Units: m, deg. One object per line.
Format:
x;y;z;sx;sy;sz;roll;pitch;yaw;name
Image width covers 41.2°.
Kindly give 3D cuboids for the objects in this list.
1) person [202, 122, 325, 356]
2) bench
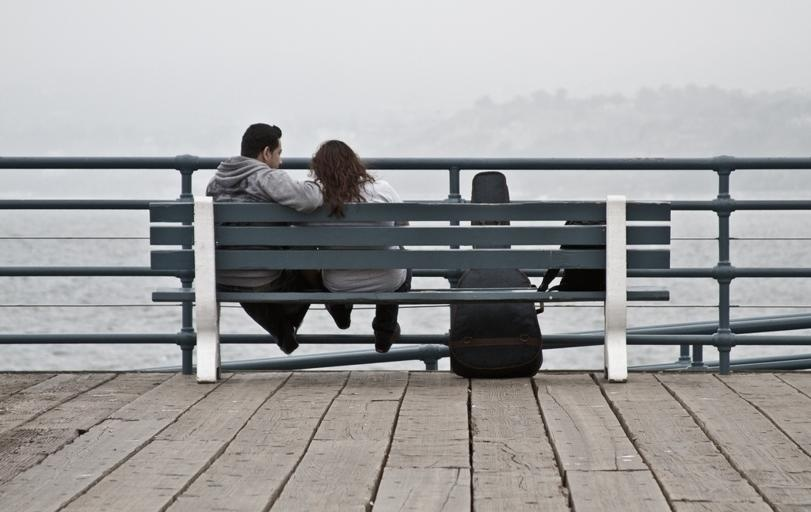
-0.984;-0.081;7.634;0.820;1.557;0.883;6;23;30;person
0.048;0.098;7.550;3.485;1.045;0.882;-1;13;-3;bench
